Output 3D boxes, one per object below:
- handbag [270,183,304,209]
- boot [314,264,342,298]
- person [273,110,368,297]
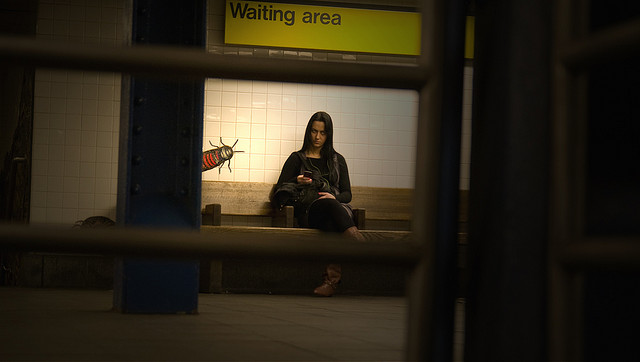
[{"bbox_3d":[-0.217,0.088,4.653,0.188,0.085,0.223,-5,-3,-4],"label":"handbag"},{"bbox_3d":[0.049,0.647,4.457,0.162,0.207,0.221,4,2,0],"label":"boot"},{"bbox_3d":[0.036,0.100,4.588,0.606,1.229,0.748,3,-10,-33],"label":"person"}]
